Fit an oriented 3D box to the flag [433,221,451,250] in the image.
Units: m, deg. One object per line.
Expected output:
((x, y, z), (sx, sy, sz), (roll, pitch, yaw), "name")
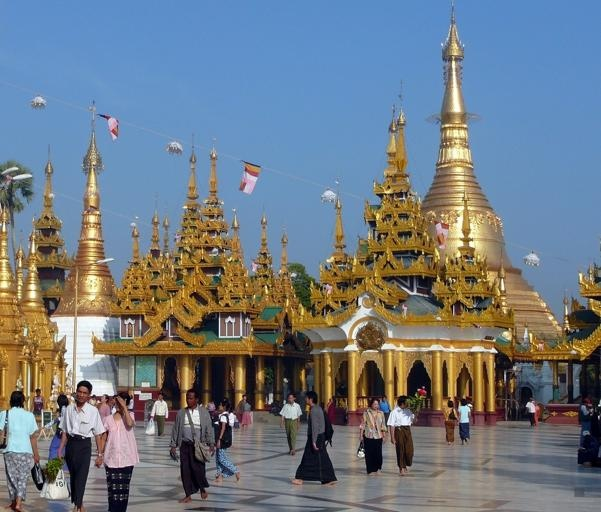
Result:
((6.313, -0.972, 69.194), (0.194, 1.593, 1.435), (-3, -5, 39), "flag")

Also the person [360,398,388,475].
((1.723, 4.160, 36.070), (0.564, 1.731, 0.983), (-1, -8, 2), "person")

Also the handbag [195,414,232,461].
((-1.919, 3.996, 34.503), (0.488, 0.749, 0.775), (1, -1, 5), "handbag")

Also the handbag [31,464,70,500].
((-5.113, 4.584, 31.606), (0.914, 1.012, 0.453), (8, -11, -35), "handbag")
